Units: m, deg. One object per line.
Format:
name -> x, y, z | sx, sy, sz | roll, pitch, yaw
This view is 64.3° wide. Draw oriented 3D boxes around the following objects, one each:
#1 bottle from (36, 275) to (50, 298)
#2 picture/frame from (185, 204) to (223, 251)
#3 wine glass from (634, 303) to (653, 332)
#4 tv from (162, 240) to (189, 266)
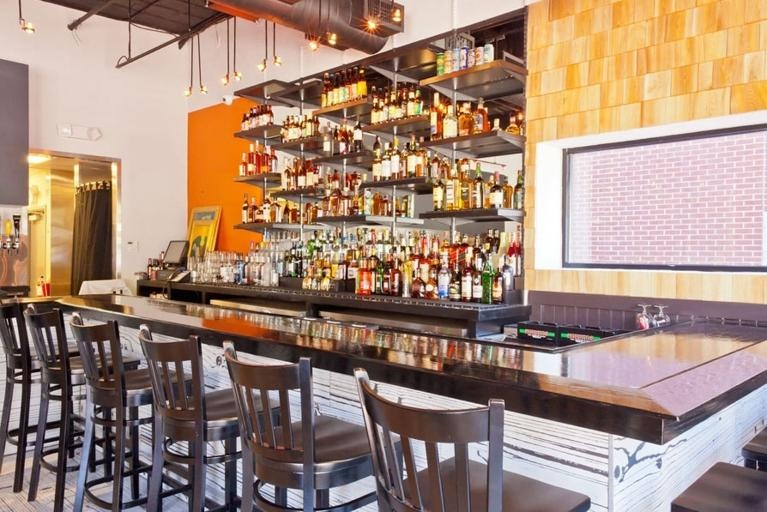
bottle -> -4.705, 0.430, 8.421 | 0.172, 0.275, 0.287 | 1, 0, -15
picture/frame -> -2.448, -0.376, 8.378 | 0.638, 0.725, 0.031 | 5, -2, 41
wine glass -> 1.917, 0.457, 4.534 | 0.092, 0.230, 0.164 | -1, -6, -25
tv -> -2.894, -0.080, 8.385 | 0.391, 0.387, 0.104 | -3, -29, 28
